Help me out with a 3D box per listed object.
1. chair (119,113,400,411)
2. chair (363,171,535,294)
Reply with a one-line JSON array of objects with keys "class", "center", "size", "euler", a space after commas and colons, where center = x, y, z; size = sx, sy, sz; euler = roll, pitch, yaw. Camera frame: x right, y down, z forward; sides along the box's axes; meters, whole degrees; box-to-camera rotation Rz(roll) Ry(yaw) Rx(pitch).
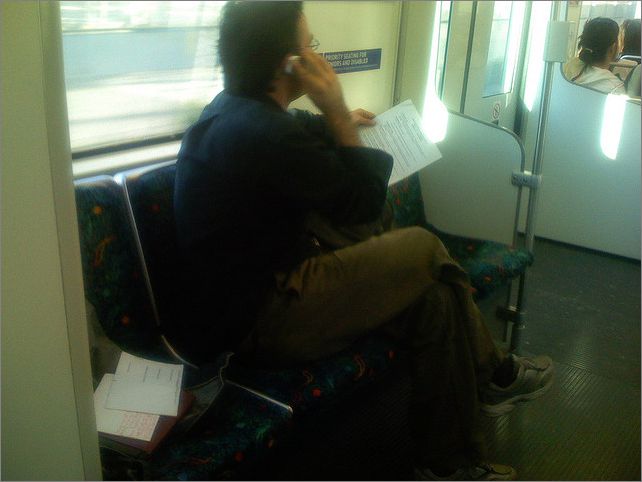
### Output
[{"class": "chair", "center": [-0.175, 0.079, 1.252], "size": [0.459, 0.617, 0.374], "euler": [-4, 12, 34]}, {"class": "chair", "center": [0.398, -0.104, 1.639], "size": [0.448, 0.422, 0.444], "euler": [9, 19, 37]}]
